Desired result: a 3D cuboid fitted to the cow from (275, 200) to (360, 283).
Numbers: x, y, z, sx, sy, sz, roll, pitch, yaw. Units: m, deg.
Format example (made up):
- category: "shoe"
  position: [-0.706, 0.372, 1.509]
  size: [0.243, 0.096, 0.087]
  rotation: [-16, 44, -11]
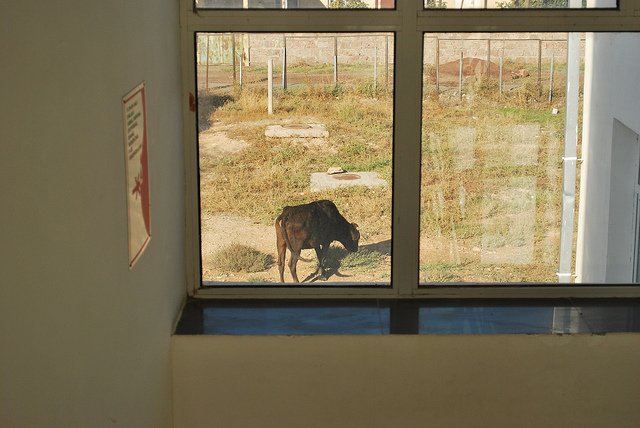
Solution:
- category: "cow"
  position: [0.003, 0.138, 6.328]
  size: [0.503, 0.446, 0.208]
  rotation: [-3, 8, -37]
